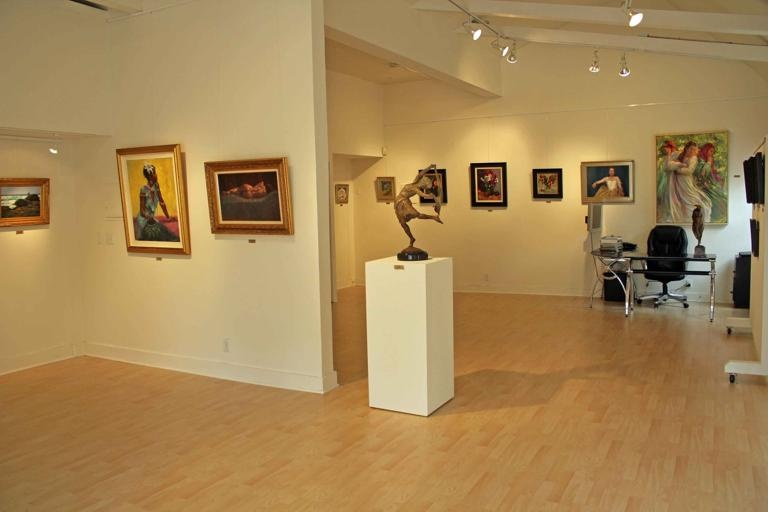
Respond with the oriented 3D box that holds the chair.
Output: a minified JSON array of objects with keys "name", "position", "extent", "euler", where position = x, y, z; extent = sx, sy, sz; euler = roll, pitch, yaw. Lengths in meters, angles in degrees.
[{"name":"chair","position":[6.491,0.200,12.237],"extent":[1.142,1.796,1.125],"euler":[-4,6,-15]}]

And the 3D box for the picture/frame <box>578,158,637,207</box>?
[{"name":"picture/frame","position":[5.603,-1.844,13.136],"extent":[1.228,1.063,0.098],"euler":[1,4,19]}]

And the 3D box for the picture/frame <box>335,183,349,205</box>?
[{"name":"picture/frame","position":[-1.214,-1.793,15.179],"extent":[0.052,0.498,0.703],"euler":[0,4,22]}]

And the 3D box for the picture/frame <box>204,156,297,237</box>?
[{"name":"picture/frame","position":[-2.010,-0.964,8.268],"extent":[1.301,0.973,0.060],"euler":[1,10,21]}]

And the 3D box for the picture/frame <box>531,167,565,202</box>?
[{"name":"picture/frame","position":[4.269,-1.866,13.692],"extent":[0.886,0.966,0.074],"euler":[2,6,21]}]
